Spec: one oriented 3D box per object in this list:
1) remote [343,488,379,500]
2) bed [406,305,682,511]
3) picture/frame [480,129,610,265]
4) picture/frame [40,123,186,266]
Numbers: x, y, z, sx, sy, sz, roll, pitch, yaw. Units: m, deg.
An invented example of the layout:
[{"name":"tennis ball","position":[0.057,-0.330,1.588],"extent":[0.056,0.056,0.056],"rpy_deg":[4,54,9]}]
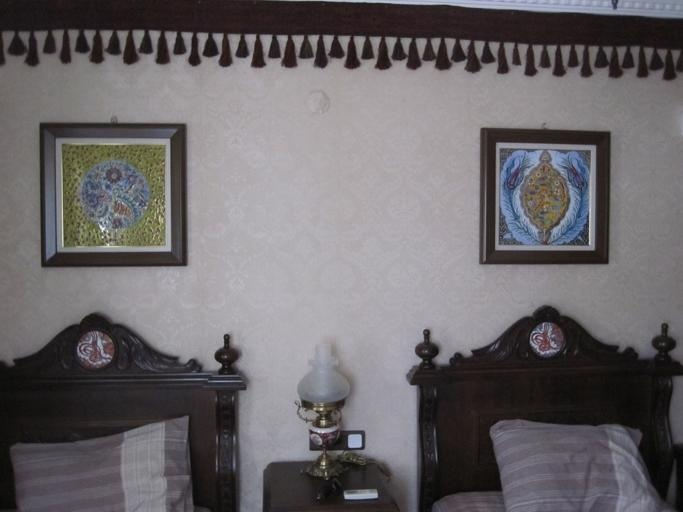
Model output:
[{"name":"remote","position":[0.096,1.171,3.969],"extent":[0.100,0.026,0.055],"rpy_deg":[1,22,0]},{"name":"bed","position":[0.996,0.821,4.229],"extent":[0.942,0.949,0.148],"rpy_deg":[0,0,-9]},{"name":"picture/frame","position":[1.054,-0.326,4.331],"extent":[0.620,0.725,0.047],"rpy_deg":[0,3,-4]},{"name":"picture/frame","position":[-1.205,-0.323,4.185],"extent":[0.623,0.717,0.054],"rpy_deg":[0,2,0]}]
